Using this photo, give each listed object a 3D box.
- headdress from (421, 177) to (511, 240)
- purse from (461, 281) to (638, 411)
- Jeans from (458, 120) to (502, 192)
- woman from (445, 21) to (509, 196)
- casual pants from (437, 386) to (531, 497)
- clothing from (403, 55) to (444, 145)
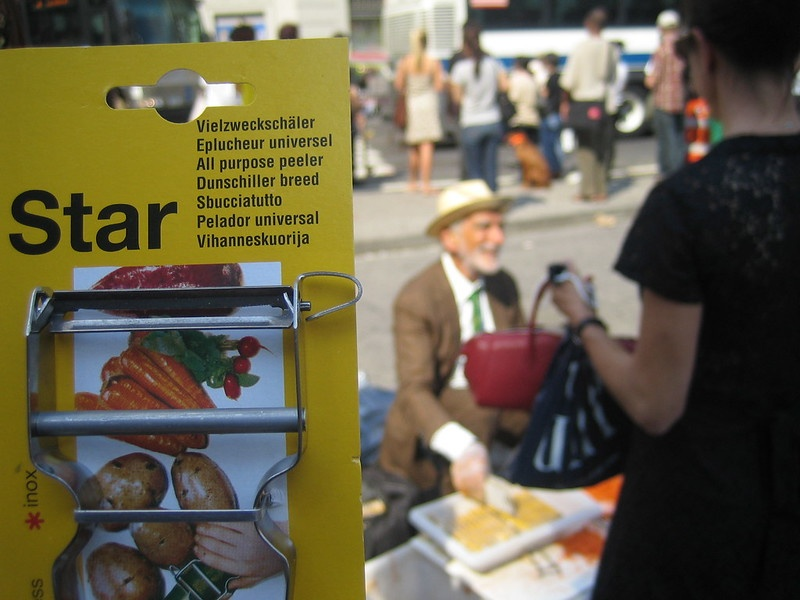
[{"bbox_3d":[0.199,-0.301,3.749,0.181,0.077,0.209,-20,-6,-38],"label":"headdress"},{"bbox_3d":[0.442,0.134,3.397,0.497,0.486,0.205,3,24,17],"label":"purse"},{"bbox_3d":[0.318,-0.505,4.439,0.148,0.131,0.447,-10,30,11],"label":"Jeans"},{"bbox_3d":[0.372,-0.893,5.586,0.290,0.958,0.276,-12,35,-13],"label":"woman"},{"bbox_3d":[0.241,0.428,3.528,0.268,0.279,0.087,15,15,40],"label":"casual pants"},{"bbox_3d":[0.108,-1.020,5.999,0.183,0.443,0.134,-5,49,2],"label":"clothing"}]
